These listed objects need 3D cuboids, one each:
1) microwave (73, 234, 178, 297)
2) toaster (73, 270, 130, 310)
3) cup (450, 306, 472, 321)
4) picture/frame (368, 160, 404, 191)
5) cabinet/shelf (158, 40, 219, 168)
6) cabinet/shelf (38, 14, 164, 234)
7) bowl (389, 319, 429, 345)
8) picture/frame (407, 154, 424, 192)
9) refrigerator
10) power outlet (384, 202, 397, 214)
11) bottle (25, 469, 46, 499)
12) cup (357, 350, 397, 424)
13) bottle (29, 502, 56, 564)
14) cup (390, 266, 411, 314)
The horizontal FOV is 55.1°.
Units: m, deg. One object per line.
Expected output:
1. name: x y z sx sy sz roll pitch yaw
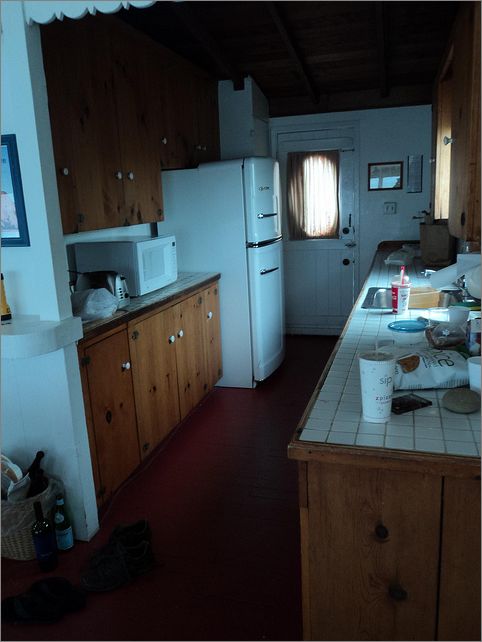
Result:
1. microwave: -0.691 -0.418 2.768 0.293 0.322 0.520 1 13 11
2. toaster: -0.726 -0.182 2.425 0.208 0.195 0.182 1 14 5
3. cup: 0.834 -0.022 1.770 0.049 0.055 0.058 1 12 7
4. picture/frame: 1.466 -1.464 4.670 0.335 0.255 0.089 2 8 23
5. cabinet/shelf: -0.421 -1.580 3.628 0.142 0.770 1.236 2 16 20
6. cabinet/shelf: -0.773 -1.012 2.521 0.311 1.019 0.957 5 19 20
7. bowl: 0.637 0.042 1.757 0.129 0.068 0.231 2 12 24
8. picture/frame: 1.738 -1.467 4.608 0.152 0.348 0.073 2 8 26
9. refrigerator: -0.097 -0.529 3.989 0.860 1.943 1.078 -6 30 -6
10. power outlet: 1.529 -1.162 4.726 0.080 0.132 0.014 1 13 11
11. bottle: -0.830 0.670 1.904 0.036 0.063 0.126 11 14 -8
12. cup: 0.320 0.143 1.075 0.064 0.186 0.078 -6 13 -13
13. bottle: -0.781 0.844 1.845 0.084 0.302 0.101 -5 9 -28
14. cup: 0.767 -0.138 2.211 0.078 0.248 0.081 5 -5 0
